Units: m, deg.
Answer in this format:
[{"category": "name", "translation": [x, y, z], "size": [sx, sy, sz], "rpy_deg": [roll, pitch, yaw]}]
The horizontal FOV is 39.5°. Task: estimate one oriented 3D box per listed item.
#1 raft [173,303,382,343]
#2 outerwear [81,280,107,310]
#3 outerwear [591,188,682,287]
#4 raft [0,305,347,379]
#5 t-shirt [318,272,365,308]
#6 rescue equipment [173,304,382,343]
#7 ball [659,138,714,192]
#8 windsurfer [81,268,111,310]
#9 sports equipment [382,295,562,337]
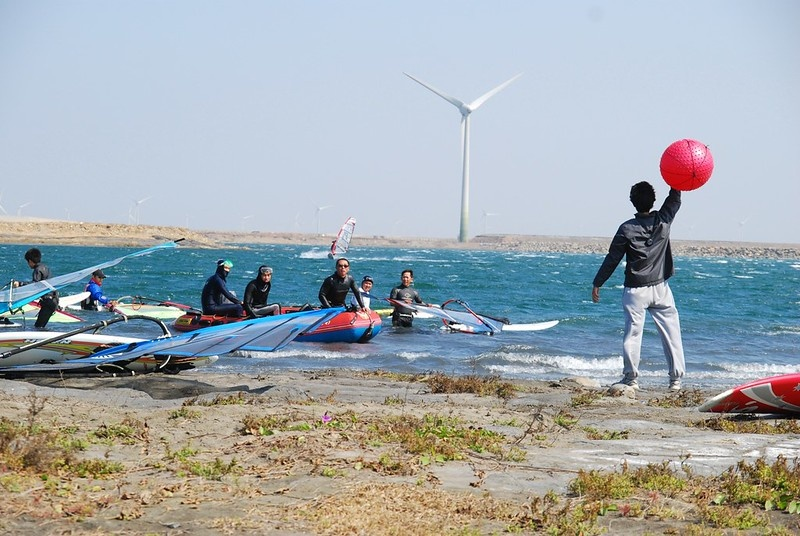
[{"category": "raft", "translation": [-2.628, 1.527, 28.255], "size": [3.581, 0.664, 1.840], "rpy_deg": [1, 1, 5]}, {"category": "outerwear", "translation": [-8.575, 0.771, 31.285], "size": [0.363, 0.858, 0.588], "rpy_deg": [-19, 34, -37]}, {"category": "outerwear", "translation": [4.392, -0.544, 20.759], "size": [1.271, 1.854, 0.953], "rpy_deg": [4, 5, 11]}, {"category": "raft", "translation": [-4.177, 1.490, 21.338], "size": [6.943, 0.938, 2.067], "rpy_deg": [1, 6, 1]}, {"category": "t-shirt", "translation": [-1.504, 0.537, 26.628], "size": [0.789, 0.824, 1.274], "rpy_deg": [18, 13, 43]}, {"category": "rescue equipment", "translation": [-2.728, 1.482, 28.066], "size": [3.545, 0.670, 1.847], "rpy_deg": [1, 1, 5]}, {"category": "ball", "translation": [5.320, -1.926, 20.907], "size": [1.140, 1.016, 1.032], "rpy_deg": [-5, 2, -11]}, {"category": "windsurfer", "translation": [-8.623, 0.647, 31.683], "size": [0.847, 1.310, 0.592], "rpy_deg": [-5, 34, -14]}, {"category": "sports equipment", "translation": [0.975, 1.424, 30.976], "size": [5.960, 0.830, 1.543], "rpy_deg": [7, 1, 13]}]
